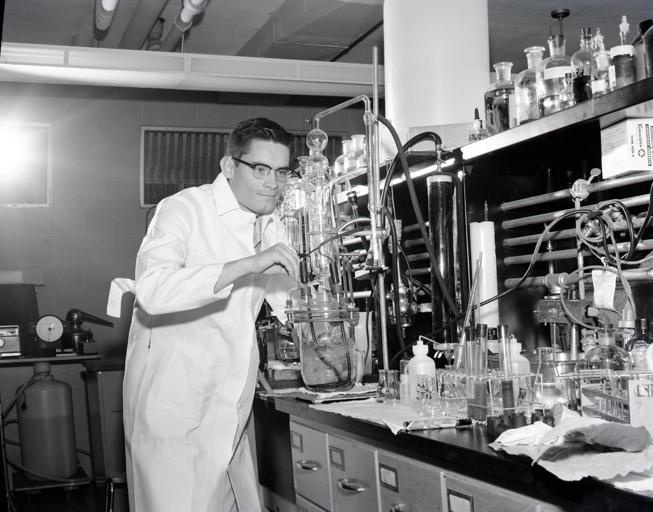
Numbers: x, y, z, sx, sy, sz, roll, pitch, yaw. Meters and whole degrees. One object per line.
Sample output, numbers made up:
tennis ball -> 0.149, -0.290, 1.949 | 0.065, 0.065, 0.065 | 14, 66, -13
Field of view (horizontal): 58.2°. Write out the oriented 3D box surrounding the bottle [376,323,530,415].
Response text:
bottle -> 0.504, 0.370, 1.993 | 0.234, 0.241, 0.402 | 2, -8, -20
